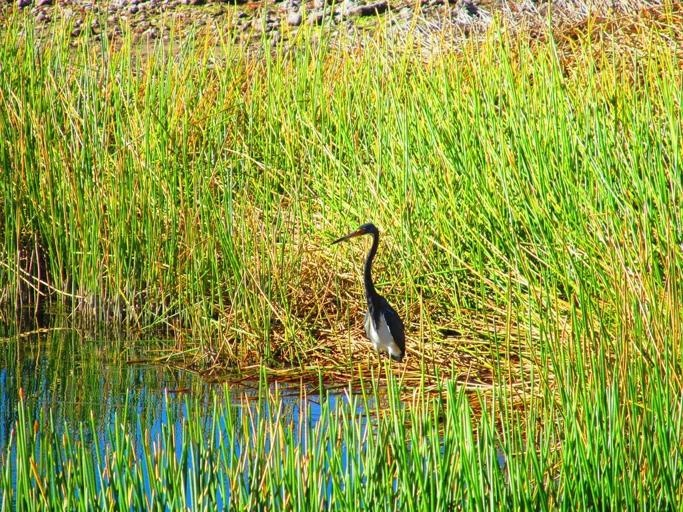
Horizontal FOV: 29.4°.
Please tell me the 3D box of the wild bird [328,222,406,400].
[{"bbox_3d":[0.116,0.184,5.090,0.281,0.157,0.642,0,-70,-3],"label":"wild bird"}]
